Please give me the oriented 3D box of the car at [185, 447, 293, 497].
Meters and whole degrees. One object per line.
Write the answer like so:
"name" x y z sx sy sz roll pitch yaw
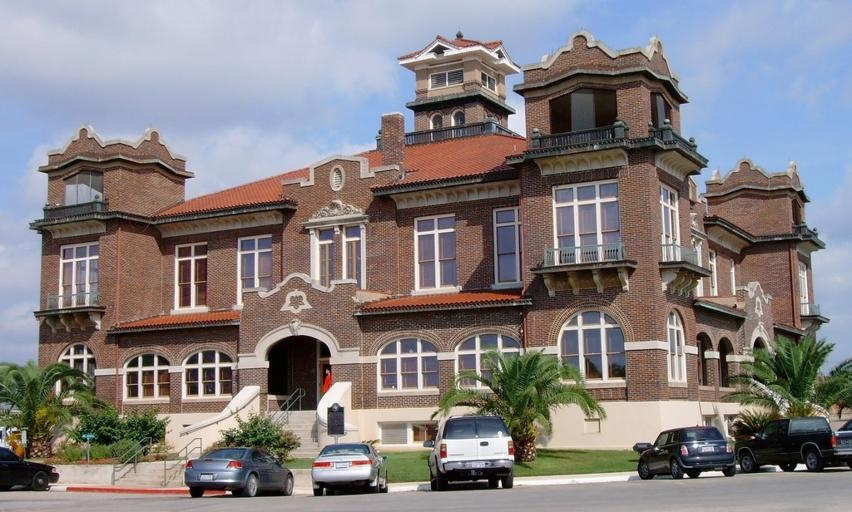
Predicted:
"car" -9.139 10.433 58.277 4.755 2.371 2.050 9 -19 -40

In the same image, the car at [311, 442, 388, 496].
"car" -3.786 10.172 57.866 3.426 2.495 2.069 -2 -15 -5
